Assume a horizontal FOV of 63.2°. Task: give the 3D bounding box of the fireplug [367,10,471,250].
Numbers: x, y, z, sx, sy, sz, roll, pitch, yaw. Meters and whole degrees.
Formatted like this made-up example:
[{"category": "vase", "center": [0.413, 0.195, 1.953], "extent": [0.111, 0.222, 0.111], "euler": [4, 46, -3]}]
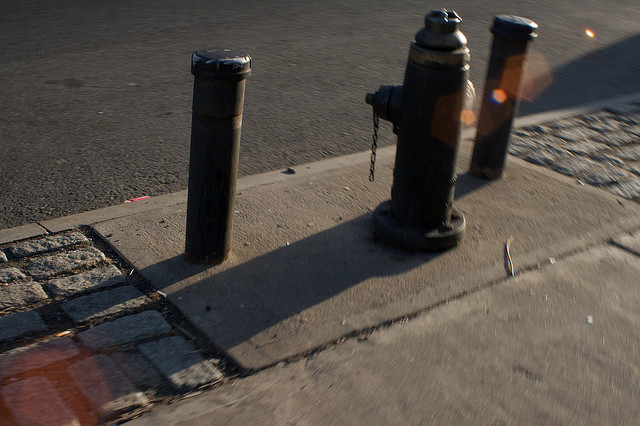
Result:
[{"category": "fireplug", "center": [0.855, -0.589, 4.157], "extent": [0.846, 1.604, 1.116], "euler": [1, 46, 2]}]
